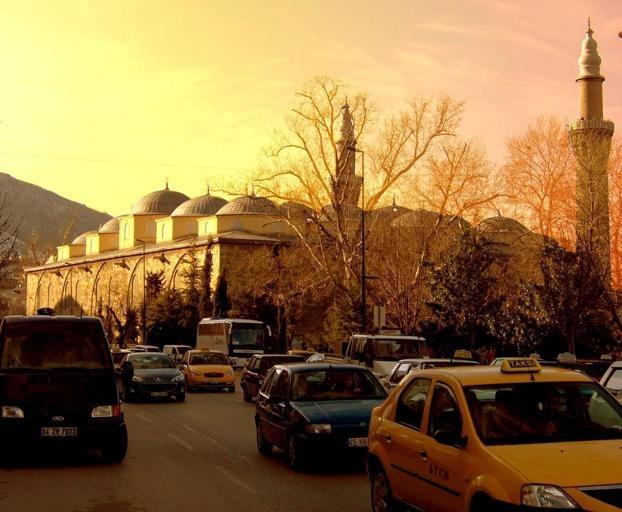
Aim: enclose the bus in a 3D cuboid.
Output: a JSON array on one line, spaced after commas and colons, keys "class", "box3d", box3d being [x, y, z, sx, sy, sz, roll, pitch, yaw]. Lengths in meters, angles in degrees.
[{"class": "bus", "box3d": [-4.745, 5.256, 48.745, 2.149, 2.987, 5.885, 1, -5, -25]}]
